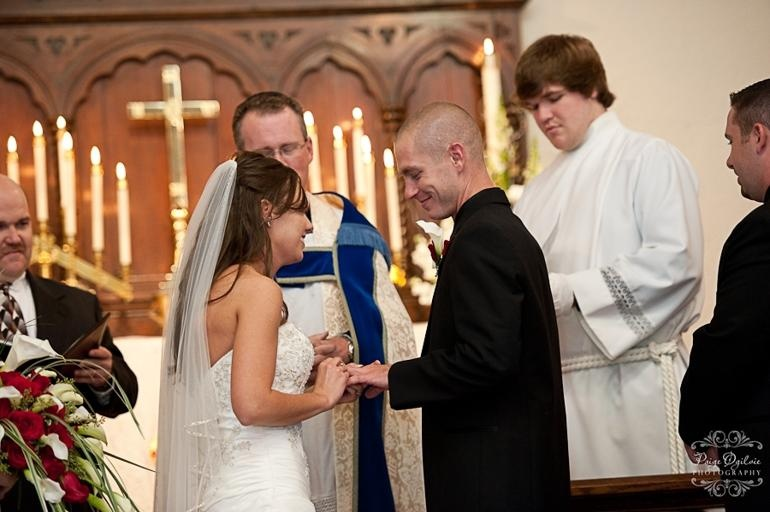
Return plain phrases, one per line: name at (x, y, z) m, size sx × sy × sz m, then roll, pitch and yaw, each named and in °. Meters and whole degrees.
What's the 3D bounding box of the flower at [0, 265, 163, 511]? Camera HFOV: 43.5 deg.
flower at (-1.537, 0.637, 4.805) m, size 1.282 × 0.969 × 0.387 m, roll 1°, pitch -3°, yaw -15°
